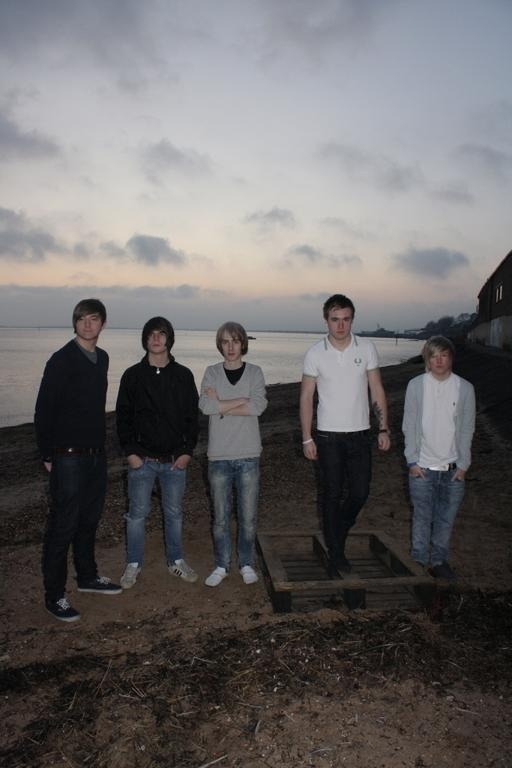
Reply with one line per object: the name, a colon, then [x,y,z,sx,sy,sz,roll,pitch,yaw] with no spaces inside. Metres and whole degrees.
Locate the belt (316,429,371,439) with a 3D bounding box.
belt: [0.706,0.437,4.326,0.421,0.116,0.146,-1,3,5]

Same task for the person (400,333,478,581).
person: [1.554,0.753,4.534,0.555,1.810,0.309,0,3,22]

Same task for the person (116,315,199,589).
person: [-0.840,0.587,4.617,0.709,2.291,0.387,-1,3,-8]

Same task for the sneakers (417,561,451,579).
sneakers: [1.544,1.606,4.564,0.224,0.076,0.228,2,-9,0]

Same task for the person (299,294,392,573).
person: [0.729,0.435,4.397,0.696,2.283,0.438,-1,3,5]

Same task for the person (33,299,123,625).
person: [-1.399,0.546,4.153,0.428,2.407,0.669,0,3,18]

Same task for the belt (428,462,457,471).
belt: [1.557,0.701,4.443,0.220,0.070,0.038,-1,3,2]

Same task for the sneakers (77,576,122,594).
sneakers: [-1.275,1.666,4.435,0.380,0.152,0.140,1,-1,0]

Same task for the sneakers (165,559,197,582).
sneakers: [-0.660,1.643,4.726,0.294,0.131,0.129,8,17,44]

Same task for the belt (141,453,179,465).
belt: [-0.803,0.642,4.491,0.289,0.080,0.041,-2,3,-20]

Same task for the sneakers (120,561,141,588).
sneakers: [-1.071,1.643,4.539,0.090,0.100,0.246,5,0,-4]

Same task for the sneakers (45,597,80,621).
sneakers: [-1.445,1.669,3.975,0.260,0.107,0.123,6,5,30]

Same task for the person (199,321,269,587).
person: [-0.196,0.619,4.543,0.561,2.252,0.652,-1,3,0]
